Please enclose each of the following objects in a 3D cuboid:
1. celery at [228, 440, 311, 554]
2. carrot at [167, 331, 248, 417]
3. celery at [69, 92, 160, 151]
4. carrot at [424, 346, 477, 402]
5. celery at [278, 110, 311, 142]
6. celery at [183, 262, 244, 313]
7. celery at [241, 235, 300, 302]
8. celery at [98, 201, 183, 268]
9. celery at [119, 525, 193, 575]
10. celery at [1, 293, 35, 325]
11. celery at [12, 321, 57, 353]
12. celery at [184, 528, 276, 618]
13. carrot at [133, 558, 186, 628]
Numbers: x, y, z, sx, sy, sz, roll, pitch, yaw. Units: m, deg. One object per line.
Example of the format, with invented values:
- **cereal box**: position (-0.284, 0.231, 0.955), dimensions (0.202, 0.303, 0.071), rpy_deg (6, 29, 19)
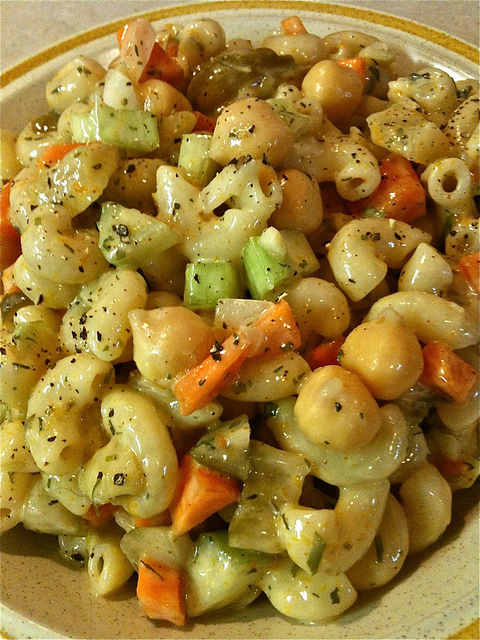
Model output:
- **celery**: position (0.054, 0.313, 1.130), dimensions (0.116, 0.063, 0.186), rpy_deg (11, 64, 10)
- **carrot**: position (-0.049, 0.095, 1.149), dimensions (0.110, 0.068, 0.183), rpy_deg (28, 108, -11)
- **celery**: position (-0.274, -0.418, 1.359), dimensions (0.183, 0.080, 0.126), rpy_deg (-15, 63, -3)
- **carrot**: position (0.385, 0.095, 1.162), dimensions (0.092, 0.060, 0.067), rpy_deg (28, 70, 17)
- **celery**: position (0.123, -0.439, 1.409), dimensions (0.076, 0.018, 0.066), rpy_deg (-1, 85, -11)
- **celery**: position (-0.053, -0.065, 1.234), dimensions (0.112, 0.056, 0.085), rpy_deg (1, 64, 6)
- **celery**: position (0.060, -0.101, 1.224), dimensions (0.104, 0.089, 0.120), rpy_deg (-13, 63, -1)
- **celery**: position (-0.187, -0.183, 1.265), dimensions (0.174, 0.116, 0.112), rpy_deg (17, 113, 29)
- **celery**: position (-0.152, 0.415, 1.177), dimensions (0.155, 0.122, 0.081), rpy_deg (-3, 107, -14)
- **celery**: position (-0.505, -0.024, 1.477), dimensions (0.070, 0.028, 0.072), rpy_deg (-32, 77, 18)
- **celery**: position (-0.434, 0.030, 1.329), dimensions (0.078, 0.038, 0.072), rpy_deg (-39, 66, -14)
- **celery**: position (-0.020, 0.463, 1.187), dimensions (0.202, 0.077, 0.136), rpy_deg (-27, 89, 27)
- **carrot**: position (-0.142, 0.473, 1.173), dimensions (0.114, 0.039, 0.102), rpy_deg (5, 91, 39)
